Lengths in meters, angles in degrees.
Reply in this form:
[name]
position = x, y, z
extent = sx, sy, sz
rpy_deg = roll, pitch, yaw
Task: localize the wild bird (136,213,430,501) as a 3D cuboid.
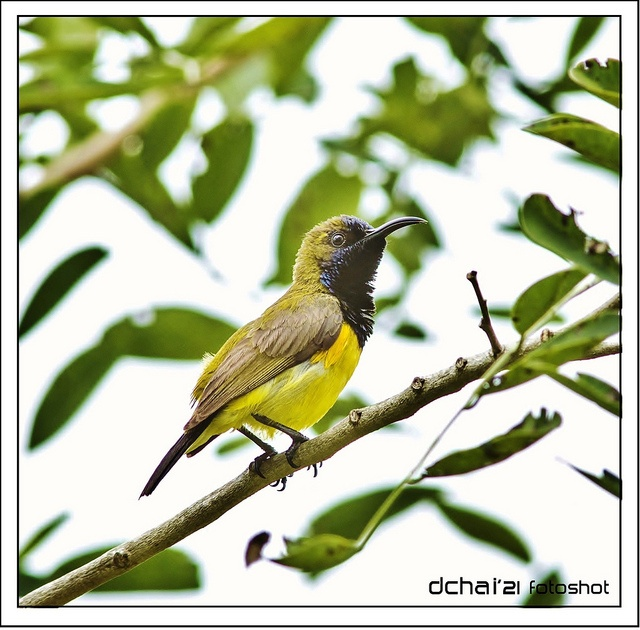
[wild bird]
position = -0.163, 0.133, 3.310
extent = 1.063, 1.000, 0.477
rpy_deg = -4, -16, -1
